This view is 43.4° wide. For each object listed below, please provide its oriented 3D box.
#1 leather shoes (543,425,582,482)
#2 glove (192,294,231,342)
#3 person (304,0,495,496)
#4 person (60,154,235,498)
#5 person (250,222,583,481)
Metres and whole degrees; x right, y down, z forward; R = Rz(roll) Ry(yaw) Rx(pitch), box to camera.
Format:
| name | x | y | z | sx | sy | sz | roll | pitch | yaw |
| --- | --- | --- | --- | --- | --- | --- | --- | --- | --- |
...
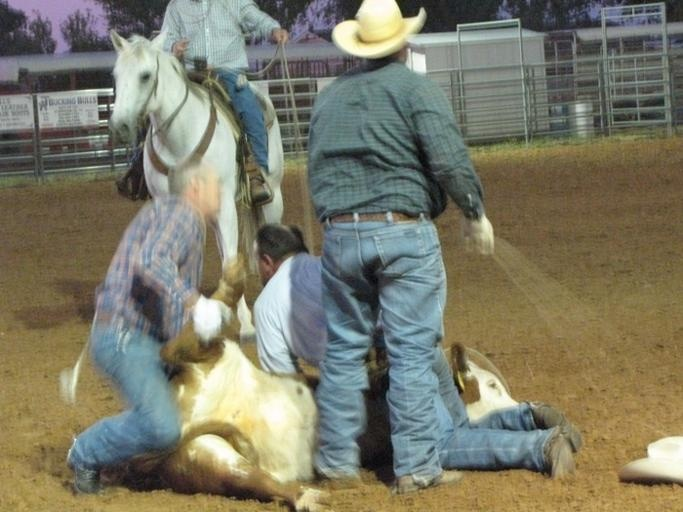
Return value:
| name | x | y | z | sx | sy | sz | roll | pitch | yaw |
| --- | --- | --- | --- | --- | --- | --- | --- | --- | --- |
| leather shoes | 1.570 | 1.299 | 6.018 | 0.192 | 0.321 | 0.420 | 4 | 15 | 28 |
| glove | -0.892 | 0.413 | 5.724 | 0.174 | 0.327 | 0.310 | -3 | -2 | -2 |
| person | 0.345 | 0.116 | 5.998 | 1.170 | 2.797 | 0.810 | -2 | 12 | 2 |
| person | -1.369 | 0.564 | 5.861 | 1.035 | 2.058 | 0.450 | -1 | 12 | 4 |
| person | 0.742 | 0.456 | 6.600 | 1.293 | 2.842 | 0.702 | -28 | -17 | 34 |
